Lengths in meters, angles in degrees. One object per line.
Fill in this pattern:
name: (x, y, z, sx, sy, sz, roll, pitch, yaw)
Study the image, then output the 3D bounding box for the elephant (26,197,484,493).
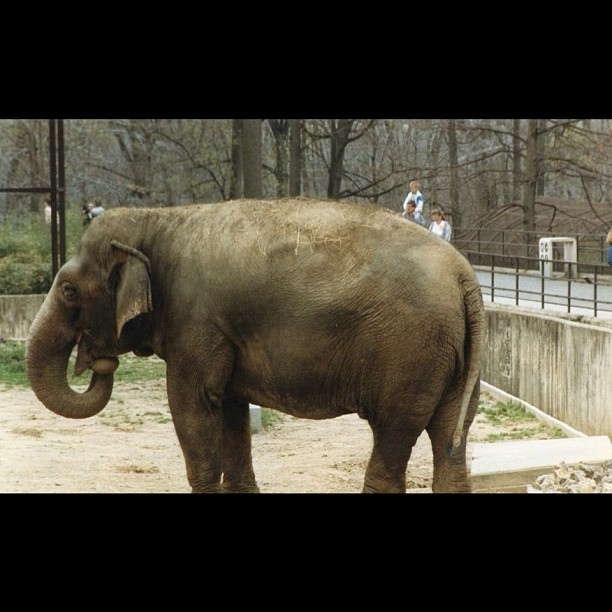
elephant: (-0.412, 0.349, 8.698, 3.222, 2.304, 1.647, 2, 15, 9)
